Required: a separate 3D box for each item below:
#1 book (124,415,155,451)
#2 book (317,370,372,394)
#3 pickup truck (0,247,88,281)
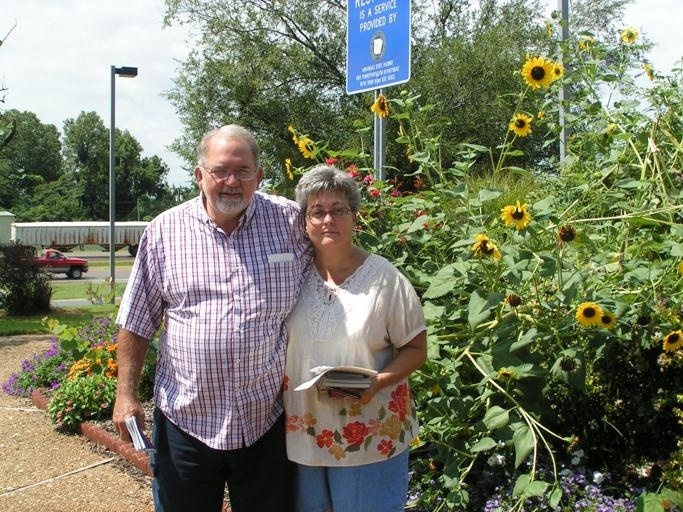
[{"bbox_3d":[-0.972,0.859,2.970,0.100,0.070,0.184,-8,47,-36],"label":"book"},{"bbox_3d":[0.035,0.619,3.005,0.261,0.114,0.070,0,5,-5],"label":"book"},{"bbox_3d":[-12.806,0.379,28.197,1.768,1.392,3.125,-1,5,-16],"label":"pickup truck"}]
